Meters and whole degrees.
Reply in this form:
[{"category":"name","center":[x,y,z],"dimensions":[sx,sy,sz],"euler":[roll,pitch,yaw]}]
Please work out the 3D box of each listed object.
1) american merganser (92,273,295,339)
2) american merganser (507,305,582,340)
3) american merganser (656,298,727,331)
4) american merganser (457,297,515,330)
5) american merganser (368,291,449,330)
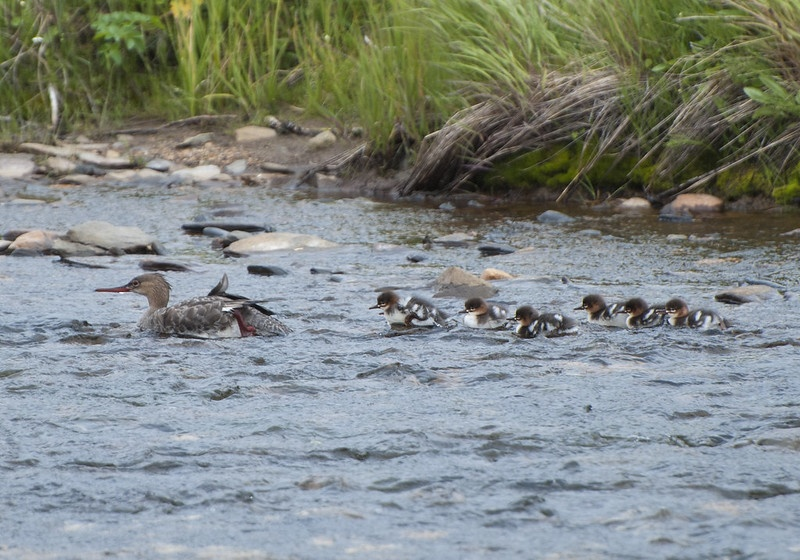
[{"category":"american merganser","center":[-1.585,0.206,7.727],"dimensions":[1.557,0.375,0.385],"euler":[-1,13,16]},{"category":"american merganser","center":[1.098,0.335,7.629],"dimensions":[0.492,0.203,0.242],"euler":[-6,8,31]},{"category":"american merganser","center":[2.293,0.287,7.617],"dimensions":[0.506,0.187,0.233],"euler":[10,26,15]},{"category":"american merganser","center":[0.690,0.284,7.830],"dimensions":[0.405,0.177,0.272],"euler":[-4,1,-42]},{"category":"american merganser","center":[0.105,0.224,7.951],"dimensions":[0.655,0.182,0.326],"euler":[-2,6,-28]}]
